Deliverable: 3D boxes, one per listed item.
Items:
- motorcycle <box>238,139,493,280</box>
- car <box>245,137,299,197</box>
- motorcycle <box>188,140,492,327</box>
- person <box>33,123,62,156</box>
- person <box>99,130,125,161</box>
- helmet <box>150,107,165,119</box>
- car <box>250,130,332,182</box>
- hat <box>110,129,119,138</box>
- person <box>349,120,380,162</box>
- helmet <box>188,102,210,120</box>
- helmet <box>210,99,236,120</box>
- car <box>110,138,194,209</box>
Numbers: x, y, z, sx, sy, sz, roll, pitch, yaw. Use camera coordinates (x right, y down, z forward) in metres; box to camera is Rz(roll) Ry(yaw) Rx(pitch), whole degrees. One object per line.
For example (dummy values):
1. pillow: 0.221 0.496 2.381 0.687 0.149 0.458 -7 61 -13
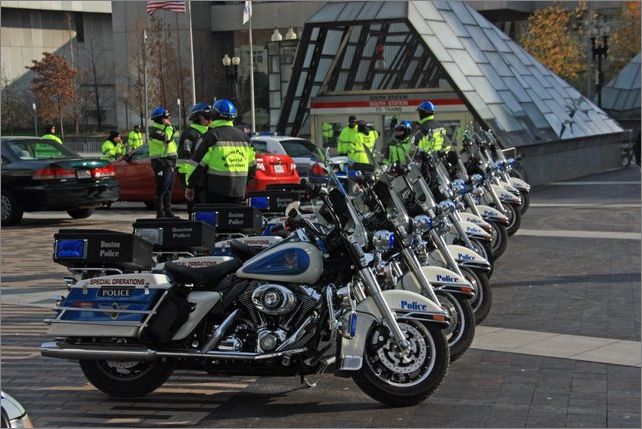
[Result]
1. motorcycle: 0.632 -0.036 9.680 1.898 1.208 2.496 6 13 37
2. car: -1.180 -1.235 20.157 1.022 1.001 2.080 -2 8 -20
3. motorcycle: 0.719 0.379 9.292 1.565 1.437 2.728 -24 37 -35
4. person: -6.660 -1.701 19.595 0.762 0.959 0.501 3 14 37
5. person: -6.633 -2.138 25.331 0.737 1.110 0.875 5 13 0
6. helmet: -3.461 -2.183 17.036 0.213 0.170 0.295 6 26 21
7. car: -0.676 -1.775 21.223 1.355 1.191 2.448 -5 13 -30
8. hat: -6.468 -2.545 24.835 0.225 0.226 0.292 -9 -25 -39
9. person: 0.514 -0.827 9.669 0.345 0.708 0.184 -10 48 -2
10. helmet: -2.103 -1.774 13.644 0.357 0.224 0.263 -4 12 7
11. helmet: -1.519 -1.624 12.354 0.304 0.343 0.366 1 27 -17
12. car: -4.851 -1.054 21.284 2.782 1.372 1.688 2 1 8
